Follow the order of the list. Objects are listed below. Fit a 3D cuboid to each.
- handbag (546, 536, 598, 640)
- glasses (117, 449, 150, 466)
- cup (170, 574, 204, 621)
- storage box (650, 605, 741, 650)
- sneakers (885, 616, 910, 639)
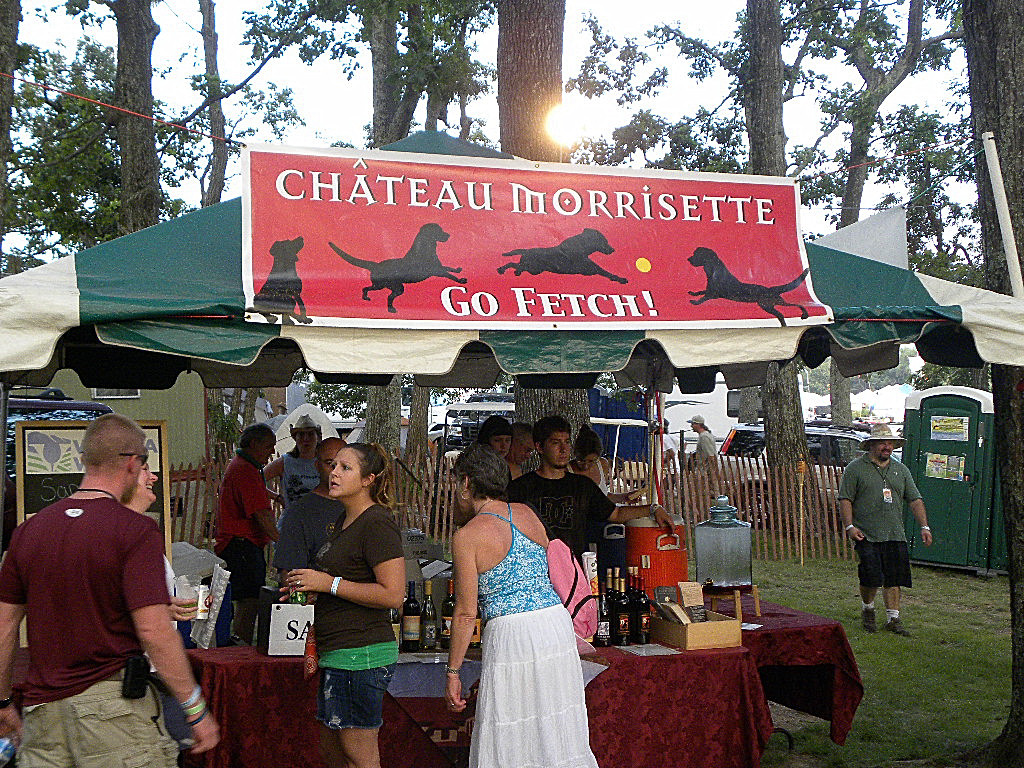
[{"bbox_3d":[0.360,1.167,5.469,0.153,0.545,0.336,-5,15,36],"label":"handbag"},{"bbox_3d":[-1.790,0.355,4.646,0.081,0.068,0.239,0,-4,-4],"label":"glasses"},{"bbox_3d":[-1.761,1.164,5.233,0.234,0.240,0.151,2,-6,14],"label":"cup"},{"bbox_3d":[1.142,1.486,6.181,0.340,0.146,0.341,2,-9,-25],"label":"storage box"},{"bbox_3d":[4.190,2.623,10.513,0.118,0.159,0.352,-4,3,-24],"label":"sneakers"}]
